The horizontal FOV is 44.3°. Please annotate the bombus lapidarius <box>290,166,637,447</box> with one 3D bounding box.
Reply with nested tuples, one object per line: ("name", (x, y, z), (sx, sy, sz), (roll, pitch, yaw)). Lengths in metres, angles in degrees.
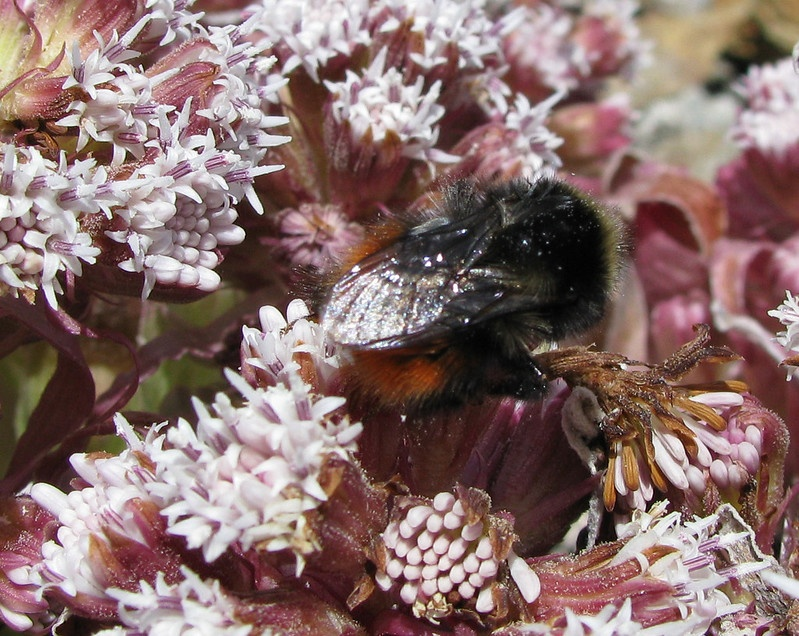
("bombus lapidarius", (0.080, -0.017, 1.118), (0.371, 0.154, 0.257), (-12, 28, -18))
